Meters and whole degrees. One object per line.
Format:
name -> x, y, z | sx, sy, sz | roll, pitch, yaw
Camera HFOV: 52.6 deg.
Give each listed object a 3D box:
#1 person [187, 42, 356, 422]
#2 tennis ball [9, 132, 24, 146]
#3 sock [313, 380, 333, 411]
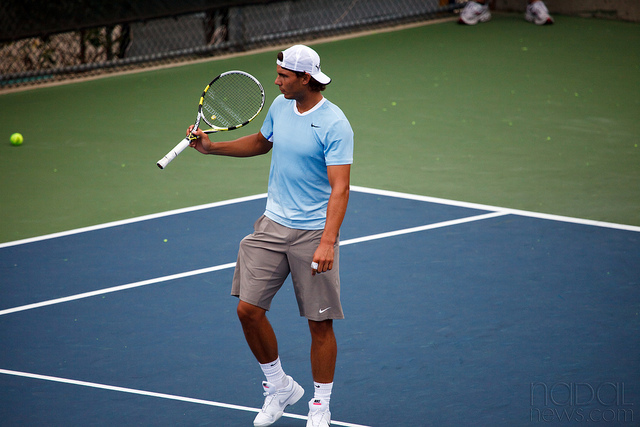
person -> -0.254, 0.222, 5.632 | 1.083, 3.124, 1.189 | 2, 22, 18
tennis ball -> -4.456, -1.061, 9.401 | 0.203, 0.213, 0.200 | 0, 2, 0
sock -> 0.019, 1.563, 5.586 | 0.203, 0.300, 0.211 | 0, 3, 4
